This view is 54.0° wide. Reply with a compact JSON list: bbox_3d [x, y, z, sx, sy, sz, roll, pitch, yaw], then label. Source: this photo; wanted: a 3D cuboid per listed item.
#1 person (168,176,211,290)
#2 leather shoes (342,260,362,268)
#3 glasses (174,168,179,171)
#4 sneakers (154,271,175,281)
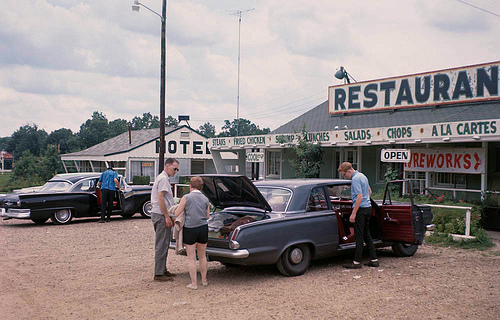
[{"bbox_3d":[-1.254,1.675,11.332,0.759,2.478,0.639,-10,14,-39],"label":"person"},{"bbox_3d":[2.621,2.630,12.423,0.378,0.165,0.200,2,-4,10],"label":"leather shoes"},{"bbox_3d":[-1.823,0.230,12.174,0.038,0.118,0.116,17,0,30],"label":"glasses"},{"bbox_3d":[-2.021,2.769,11.723,0.494,0.202,0.187,-2,4,-5],"label":"sneakers"}]
